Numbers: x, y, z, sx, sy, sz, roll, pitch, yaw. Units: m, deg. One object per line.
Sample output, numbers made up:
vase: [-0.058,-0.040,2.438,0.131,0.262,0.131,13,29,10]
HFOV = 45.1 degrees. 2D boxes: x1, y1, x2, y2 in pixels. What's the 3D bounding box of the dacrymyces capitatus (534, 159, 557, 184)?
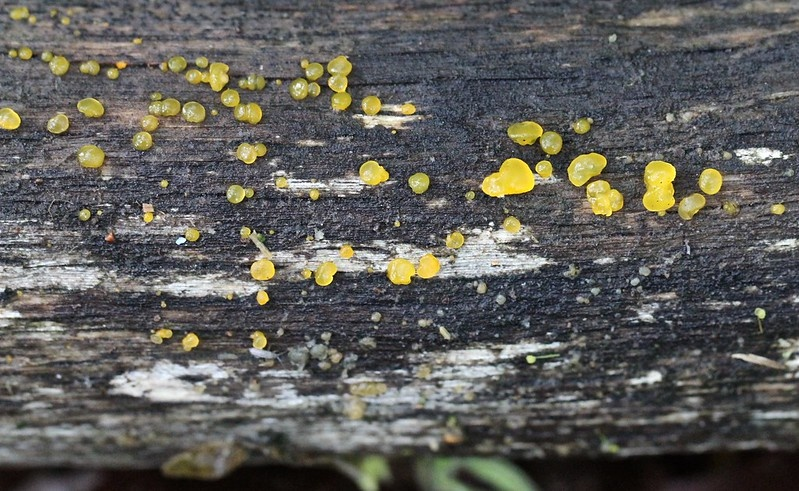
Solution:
dacrymyces capitatus: [1.433,-0.724,9.441,0.222,0.211,0.056,-8,15,3]
